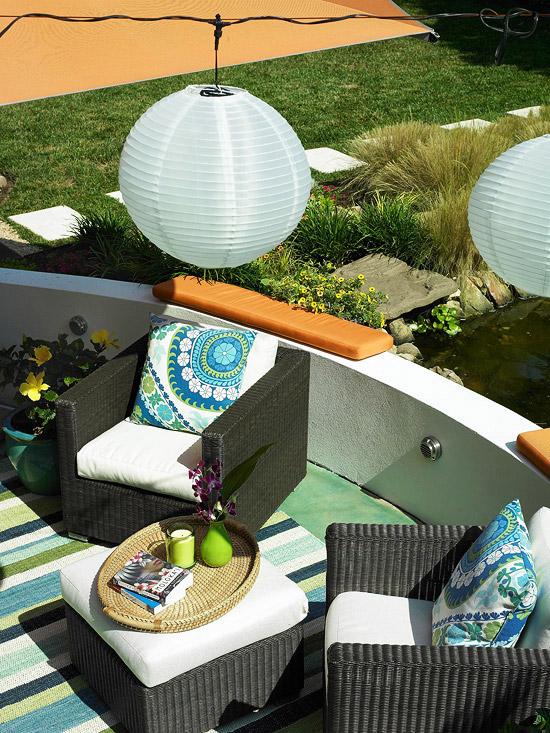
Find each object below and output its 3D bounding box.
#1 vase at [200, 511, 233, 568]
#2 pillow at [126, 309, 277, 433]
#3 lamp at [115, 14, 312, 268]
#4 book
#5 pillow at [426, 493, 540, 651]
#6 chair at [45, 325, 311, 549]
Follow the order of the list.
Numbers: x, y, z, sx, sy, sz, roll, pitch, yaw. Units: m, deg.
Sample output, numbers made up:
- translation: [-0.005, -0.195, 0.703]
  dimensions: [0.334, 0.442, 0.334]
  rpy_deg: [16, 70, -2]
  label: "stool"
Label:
- translation: [-0.188, 0.565, 2.117]
  dimensions: [0.110, 0.143, 0.104]
  rpy_deg: [-1, 8, 16]
  label: "vase"
- translation: [-0.321, 0.041, 2.957]
  dimensions: [0.607, 0.489, 0.172]
  rpy_deg: [14, -9, 26]
  label: "pillow"
- translation: [-0.158, -0.534, 1.906]
  dimensions: [0.569, 0.530, 0.363]
  rpy_deg: [-3, 25, -11]
  label: "lamp"
- translation: [-0.381, 0.649, 1.979]
  dimensions: [0.155, 0.032, 0.147]
  rpy_deg: [18, 32, 31]
  label: "book"
- translation: [0.555, 0.600, 1.718]
  dimensions: [0.247, 0.325, 0.410]
  rpy_deg: [-2, 16, 11]
  label: "pillow"
- translation: [-0.343, 0.299, 3.120]
  dimensions: [1.034, 0.710, 1.006]
  rpy_deg: [11, 25, 20]
  label: "chair"
